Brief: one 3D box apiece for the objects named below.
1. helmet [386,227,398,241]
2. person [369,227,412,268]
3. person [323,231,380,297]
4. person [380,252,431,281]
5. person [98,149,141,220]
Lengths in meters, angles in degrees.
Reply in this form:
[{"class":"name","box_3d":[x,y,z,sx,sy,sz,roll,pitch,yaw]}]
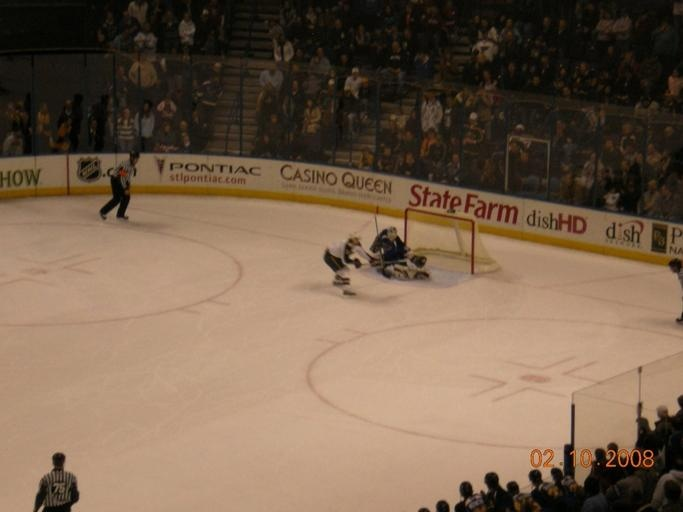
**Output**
[{"class":"helmet","box_3d":[1.207,-0.500,26.530,0.212,0.268,0.268,2,-36,-8]},{"class":"person","box_3d":[1.138,-0.194,26.828,0.896,0.938,0.639,6,-1,-11]},{"class":"person","box_3d":[0.143,0.160,25.770,1.093,1.426,0.598,18,30,19]},{"class":"person","box_3d":[1.484,0.249,26.742,0.837,0.382,0.638,1,6,-10]},{"class":"person","box_3d":[-5.867,-1.868,30.710,0.918,1.801,1.199,1,6,-12]}]
